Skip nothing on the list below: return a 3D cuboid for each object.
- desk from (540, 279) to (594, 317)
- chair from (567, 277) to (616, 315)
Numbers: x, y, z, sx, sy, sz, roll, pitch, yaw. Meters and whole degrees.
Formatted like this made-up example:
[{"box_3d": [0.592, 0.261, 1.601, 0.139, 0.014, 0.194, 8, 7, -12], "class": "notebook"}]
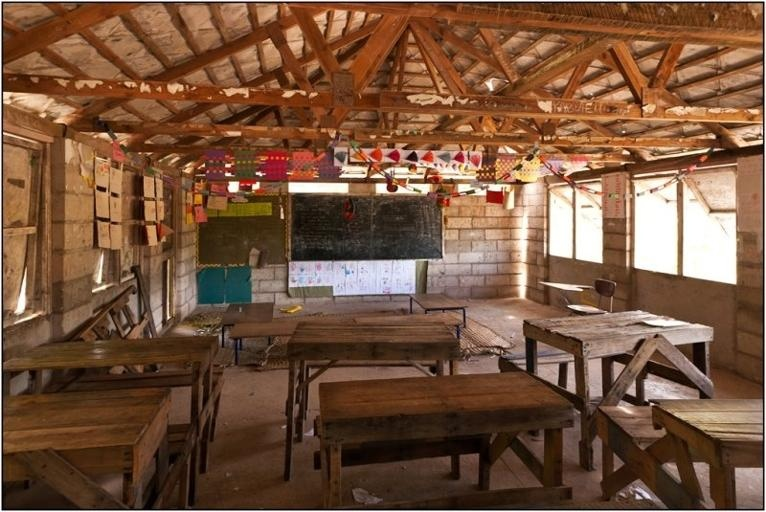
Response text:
[{"box_3d": [3.622, 0.812, 10.416, 0.934, 0.910, 0.801, -2, -14, 27], "class": "desk"}, {"box_3d": [3.556, 0.733, 8.945, 0.621, 0.675, 2.326, 0, 3, 24], "class": "chair"}]
